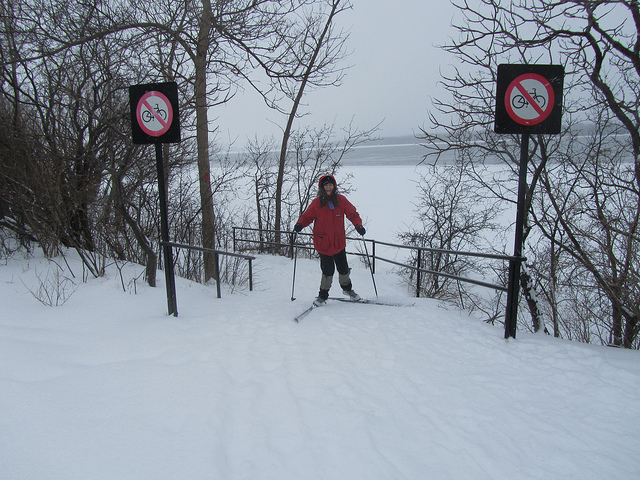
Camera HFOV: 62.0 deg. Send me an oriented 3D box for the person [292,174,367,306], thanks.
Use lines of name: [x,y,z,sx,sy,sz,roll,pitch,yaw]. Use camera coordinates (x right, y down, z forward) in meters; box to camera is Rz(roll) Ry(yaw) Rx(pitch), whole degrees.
person: [0.158,0.008,8.898,1.091,2.176,0.736,2,0,0]

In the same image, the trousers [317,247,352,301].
trousers: [0.250,0.469,9.030,0.547,0.409,1.351,-3,47,-2]

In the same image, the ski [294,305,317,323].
ski: [-0.264,1.191,8.371,0.099,0.094,0.517,13,25,18]

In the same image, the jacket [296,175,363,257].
jacket: [0.156,-0.237,8.809,1.017,1.257,0.466,2,0,2]

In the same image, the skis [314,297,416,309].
skis: [0.722,1.063,8.819,1.051,0.057,0.122,2,34,34]
